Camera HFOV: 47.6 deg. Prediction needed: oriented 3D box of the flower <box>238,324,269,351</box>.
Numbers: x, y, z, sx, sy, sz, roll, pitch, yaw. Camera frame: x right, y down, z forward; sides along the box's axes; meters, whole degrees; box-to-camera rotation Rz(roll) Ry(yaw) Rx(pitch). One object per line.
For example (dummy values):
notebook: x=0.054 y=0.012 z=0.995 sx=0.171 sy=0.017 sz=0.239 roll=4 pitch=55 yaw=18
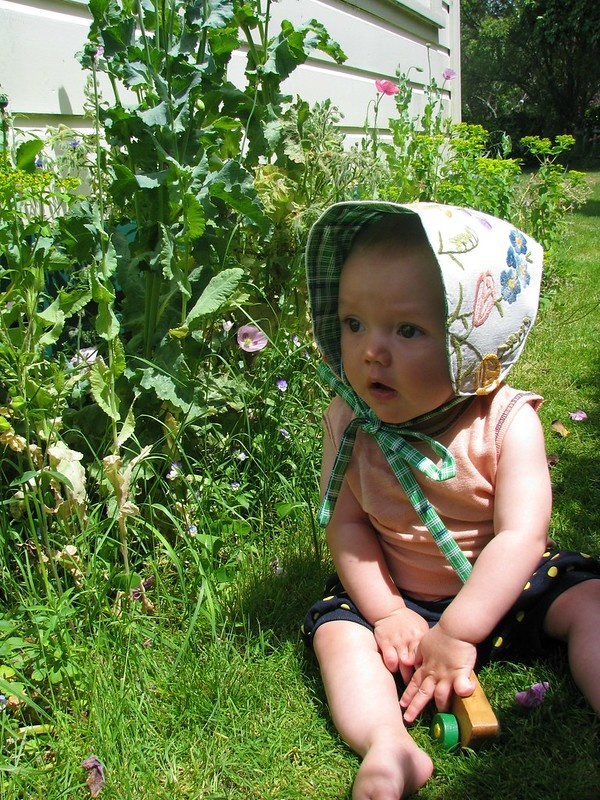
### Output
flower: x=-0.136 y=-0.166 z=1.884 sx=0.085 sy=0.077 sz=0.044 roll=-3 pitch=-17 yaw=-35

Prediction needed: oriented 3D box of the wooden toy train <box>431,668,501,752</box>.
wooden toy train: x=0.239 y=0.456 z=0.996 sx=0.062 sy=0.071 sz=0.110 roll=8 pitch=18 yaw=-10

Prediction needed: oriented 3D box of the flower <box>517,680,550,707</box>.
flower: x=0.361 y=0.456 z=1.054 sx=0.043 sy=0.034 sz=0.011 roll=-30 pitch=32 yaw=-9
